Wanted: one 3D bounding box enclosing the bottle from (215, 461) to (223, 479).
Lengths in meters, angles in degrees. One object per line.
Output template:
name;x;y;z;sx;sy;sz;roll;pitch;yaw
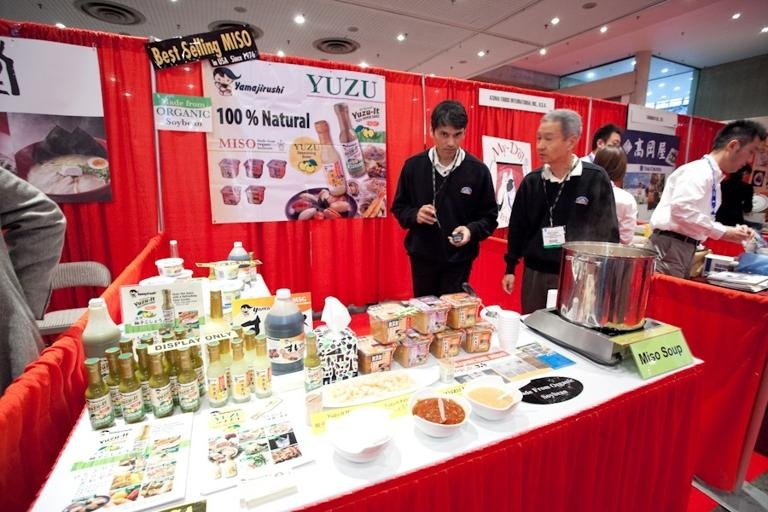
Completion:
bottle;-0.781;1.022;2.290;0.030;0.047;0.049;-6;14;-23

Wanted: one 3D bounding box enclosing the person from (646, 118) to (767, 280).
person;2.635;-0.451;3.982;0.702;1.297;0.399;0;13;4

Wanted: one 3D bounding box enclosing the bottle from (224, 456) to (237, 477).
bottle;-0.729;1.008;2.297;0.071;0.032;0.093;-4;36;-20

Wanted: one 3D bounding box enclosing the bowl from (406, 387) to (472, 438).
bowl;0.286;0.819;2.477;0.303;0.172;0.185;0;13;2

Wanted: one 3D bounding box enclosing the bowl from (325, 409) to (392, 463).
bowl;-0.115;0.891;2.383;0.311;0.197;0.191;-2;13;-7

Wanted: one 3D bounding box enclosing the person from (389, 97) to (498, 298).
person;0.469;-0.432;3.811;0.831;1.516;0.413;0;13;2

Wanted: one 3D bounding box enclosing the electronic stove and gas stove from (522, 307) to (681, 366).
electronic stove and gas stove;1.176;0.478;2.886;0.400;0.124;0.528;-9;17;-28

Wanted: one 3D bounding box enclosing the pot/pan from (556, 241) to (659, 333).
pot/pan;1.331;0.165;2.806;0.595;0.421;0.507;-5;14;-39

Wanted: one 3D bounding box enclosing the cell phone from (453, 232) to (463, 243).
cell phone;0.525;-0.136;3.491;0.093;0.051;0.082;-1;4;1
